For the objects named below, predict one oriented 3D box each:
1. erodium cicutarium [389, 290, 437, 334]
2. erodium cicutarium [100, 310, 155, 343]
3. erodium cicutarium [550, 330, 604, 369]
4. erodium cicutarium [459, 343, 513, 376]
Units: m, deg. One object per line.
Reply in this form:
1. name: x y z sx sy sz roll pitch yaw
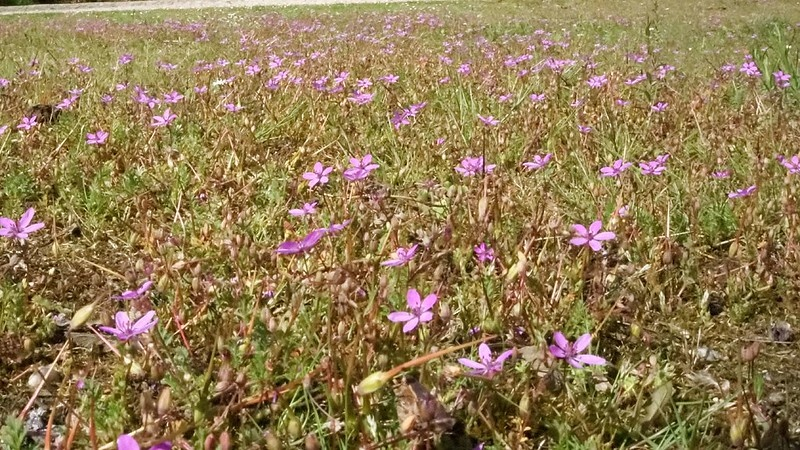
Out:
1. erodium cicutarium: 0.086 0.450 3.229 0.242 0.065 0.239 -19 57 14
2. erodium cicutarium: -1.431 0.539 3.185 0.254 0.104 0.230 5 16 31
3. erodium cicutarium: 0.894 0.654 3.224 0.262 0.098 0.301 -8 -7 -11
4. erodium cicutarium: 0.465 0.720 3.229 0.213 0.064 0.215 9 41 35
